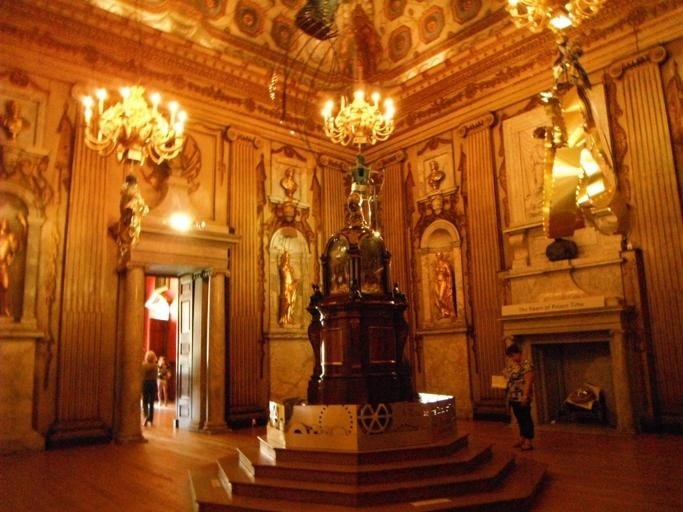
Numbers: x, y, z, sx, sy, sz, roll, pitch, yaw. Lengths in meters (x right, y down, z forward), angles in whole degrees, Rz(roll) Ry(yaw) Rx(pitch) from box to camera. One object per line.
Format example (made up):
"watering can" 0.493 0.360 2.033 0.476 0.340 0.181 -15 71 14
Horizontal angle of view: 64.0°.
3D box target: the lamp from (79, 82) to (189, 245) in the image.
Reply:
"lamp" -3.367 -1.505 8.881 1.393 2.618 1.439 0 -6 6

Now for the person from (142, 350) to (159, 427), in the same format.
"person" -4.019 2.736 11.386 0.286 1.540 1.099 3 -14 -17

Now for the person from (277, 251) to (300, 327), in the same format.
"person" -1.226 0.746 12.171 0.401 1.653 0.243 4 -14 -21

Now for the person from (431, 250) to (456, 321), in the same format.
"person" 2.237 0.668 12.037 0.215 1.462 0.534 12 -18 -44

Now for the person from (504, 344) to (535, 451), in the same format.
"person" 2.574 2.020 7.869 0.377 1.460 0.681 -5 -14 16
